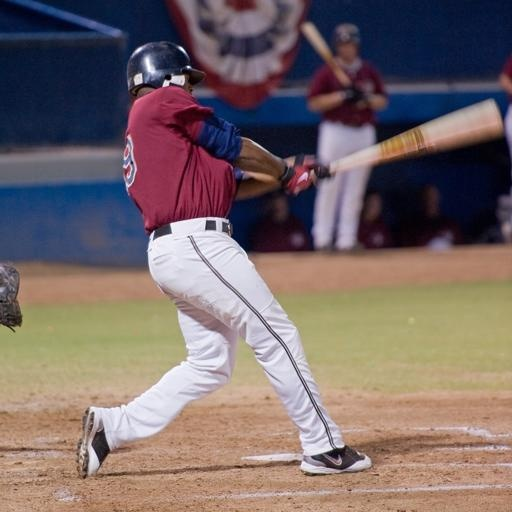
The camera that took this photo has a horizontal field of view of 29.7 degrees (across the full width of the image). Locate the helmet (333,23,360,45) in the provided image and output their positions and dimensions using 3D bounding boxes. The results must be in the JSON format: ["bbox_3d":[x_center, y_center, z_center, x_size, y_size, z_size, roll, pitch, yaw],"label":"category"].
[{"bbox_3d":[0.666,-1.634,7.006,0.225,0.143,0.209,-1,5,-1],"label":"helmet"}]

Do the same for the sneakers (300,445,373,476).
[{"bbox_3d":[0.334,0.842,4.027,0.311,0.108,0.105,-2,0,-8],"label":"sneakers"}]

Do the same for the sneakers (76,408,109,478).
[{"bbox_3d":[-0.674,0.778,4.088,0.167,0.283,0.115,10,0,-7],"label":"sneakers"}]

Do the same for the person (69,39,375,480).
[{"bbox_3d":[-0.174,0.003,4.082,1.149,1.804,0.479,1,9,3],"label":"person"}]

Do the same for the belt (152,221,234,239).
[{"bbox_3d":[-0.262,-0.112,3.956,0.333,0.090,0.126,0,7,-5],"label":"belt"}]

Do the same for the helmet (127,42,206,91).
[{"bbox_3d":[-0.389,-0.814,4.143,0.363,0.192,0.228,-5,5,-16],"label":"helmet"}]
